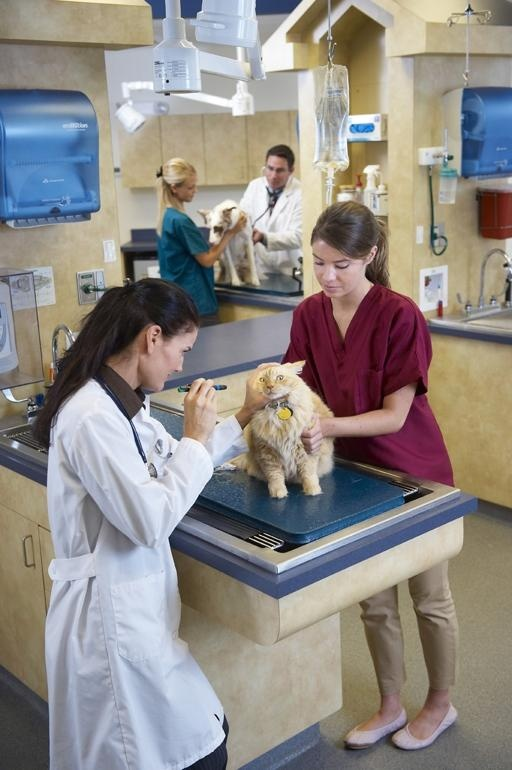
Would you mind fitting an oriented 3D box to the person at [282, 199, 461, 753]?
[{"bbox_3d":[0.366,0.324,1.566,0.481,1.579,0.477,-4,10,-5],"label":"person"}]

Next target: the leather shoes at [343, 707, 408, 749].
[{"bbox_3d":[0.362,1.012,1.812,0.213,0.088,0.083,-9,3,-28],"label":"leather shoes"}]

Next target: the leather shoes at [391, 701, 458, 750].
[{"bbox_3d":[0.513,1.000,1.807,0.223,0.080,0.087,-11,15,-41],"label":"leather shoes"}]

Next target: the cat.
[{"bbox_3d":[0.062,0.092,1.236,0.166,0.145,0.294,-4,12,6],"label":"cat"}]
